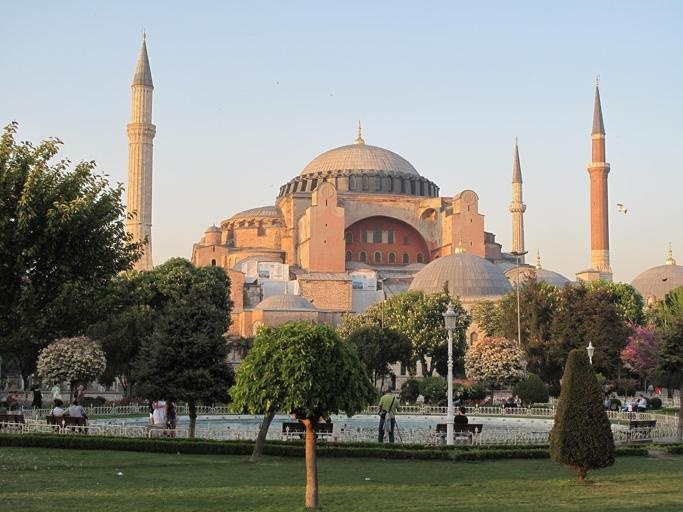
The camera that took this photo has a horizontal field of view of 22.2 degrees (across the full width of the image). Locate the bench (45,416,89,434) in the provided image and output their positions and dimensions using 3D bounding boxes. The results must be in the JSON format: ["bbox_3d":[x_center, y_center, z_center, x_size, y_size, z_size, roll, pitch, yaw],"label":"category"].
[{"bbox_3d":[-9.669,5.835,60.581,1.643,0.678,0.968,-2,-8,6],"label":"bench"}]

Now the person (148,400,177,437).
[{"bbox_3d":[-6.437,5.734,61.446,0.909,1.322,2.448,0,-8,-6],"label":"person"}]

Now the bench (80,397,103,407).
[{"bbox_3d":[-10.911,6.316,75.620,0.991,0.306,1.330,0,-3,7],"label":"bench"}]
